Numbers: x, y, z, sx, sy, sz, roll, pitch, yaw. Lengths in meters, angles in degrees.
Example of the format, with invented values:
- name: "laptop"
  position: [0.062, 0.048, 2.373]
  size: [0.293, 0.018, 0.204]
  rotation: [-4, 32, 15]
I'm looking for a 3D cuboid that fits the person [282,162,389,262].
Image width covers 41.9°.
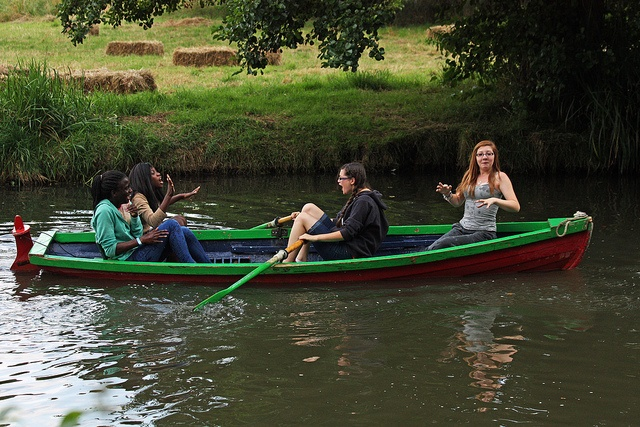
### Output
- name: "person"
  position: [0.327, -0.022, 14.019]
  size: [1.563, 1.658, 0.485]
  rotation: [0, 4, 4]

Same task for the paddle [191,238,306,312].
- name: "paddle"
  position: [-1.193, 1.048, 13.873]
  size: [2.331, 0.218, 0.244]
  rotation: [-23, 48, -20]

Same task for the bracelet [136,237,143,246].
- name: "bracelet"
  position: [-2.956, 0.447, 13.759]
  size: [0.039, 0.103, 0.109]
  rotation: [-30, -25, 0]
